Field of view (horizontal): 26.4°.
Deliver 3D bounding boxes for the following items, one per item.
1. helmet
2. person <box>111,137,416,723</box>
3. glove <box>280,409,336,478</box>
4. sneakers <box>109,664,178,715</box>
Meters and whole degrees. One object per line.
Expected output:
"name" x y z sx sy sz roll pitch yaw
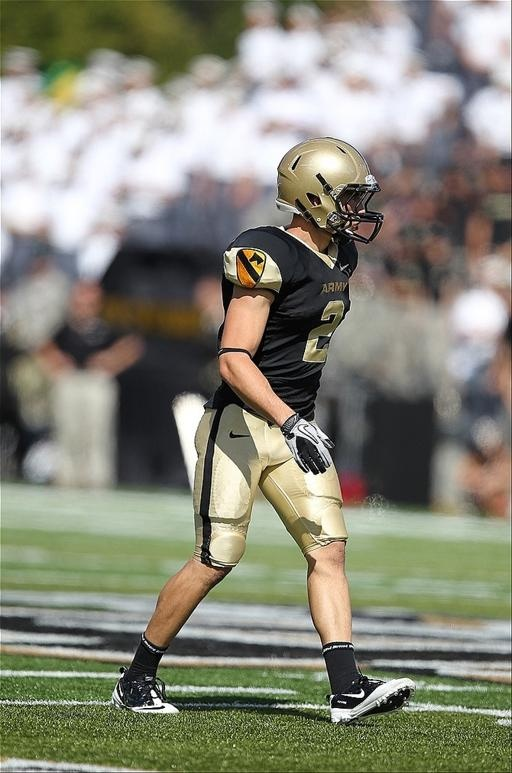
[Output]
"helmet" 0.234 -0.579 3.182 0.413 0.279 0.289 7 11 9
"person" -0.010 0.118 3.086 0.758 1.712 0.669 1 5 -4
"glove" 0.136 0.165 2.908 0.055 0.159 0.141 -7 25 44
"sneakers" -0.328 0.882 3.173 0.219 0.083 0.093 8 1 42
